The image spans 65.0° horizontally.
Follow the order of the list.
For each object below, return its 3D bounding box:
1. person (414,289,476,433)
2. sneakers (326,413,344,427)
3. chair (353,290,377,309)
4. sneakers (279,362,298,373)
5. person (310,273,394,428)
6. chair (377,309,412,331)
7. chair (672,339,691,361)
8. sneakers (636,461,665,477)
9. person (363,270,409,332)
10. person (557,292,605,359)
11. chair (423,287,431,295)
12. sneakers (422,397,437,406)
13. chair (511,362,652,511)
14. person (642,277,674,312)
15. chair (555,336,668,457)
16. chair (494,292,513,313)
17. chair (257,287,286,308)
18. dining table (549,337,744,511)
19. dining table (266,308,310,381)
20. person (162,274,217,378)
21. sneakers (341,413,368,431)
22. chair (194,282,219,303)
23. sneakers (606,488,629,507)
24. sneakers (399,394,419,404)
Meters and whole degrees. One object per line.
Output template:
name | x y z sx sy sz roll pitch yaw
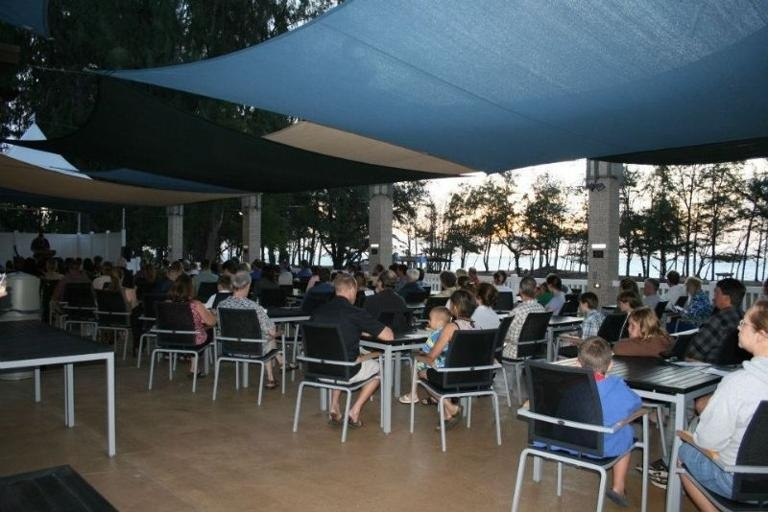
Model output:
person | 0.706 1.140 6.643 0.630 1.578 0.767 -2 6 -36
sneakers | -0.535 1.807 6.640 0.093 0.073 0.192 3 -7 -25
chair | -0.274 0.643 8.969 0.275 0.350 0.257 0 1 1
sneakers | -1.329 1.590 8.742 0.269 0.105 0.175 -7 -6 19
person | -0.362 1.052 6.631 0.933 1.684 0.814 0 3 -2
chair | 0.209 0.780 7.408 0.307 0.285 0.229 -1 2 -25
chair | 3.011 0.948 6.101 0.165 0.115 0.113 25 -10 -41
sneakers | 2.392 1.924 5.480 0.297 0.119 0.212 -3 -1 16
person | 0.040 0.736 7.973 0.535 1.094 0.709 5 12 6
person | 2.481 0.895 7.635 0.486 0.915 0.475 10 18 29
chair | 0.815 0.638 11.210 0.139 0.115 0.136 -1 -2 12
sneakers | 0.560 1.792 7.398 0.077 0.049 0.187 -4 -8 43
chair | 1.585 1.493 4.973 1.008 1.360 0.865 2 8 11
person | 4.544 0.632 9.962 0.359 0.854 0.285 -8 18 -21
chair | 1.879 1.064 5.009 0.717 1.494 0.803 -1 16 33
chair | 1.825 0.697 9.204 0.253 0.340 0.334 2 1 -24
chair | -1.812 0.661 9.809 0.306 0.486 0.327 2 7 -8
dining table | 2.063 1.293 5.311 1.150 1.689 1.180 -3 2 -27
dining table | -1.268 1.179 7.978 0.848 0.858 0.642 -2 6 -41
person | -2.592 0.973 8.253 0.665 1.595 0.779 -2 13 -5
sneakers | -0.309 1.786 6.445 0.328 0.138 0.108 3 0 -25
chair | -3.068 0.650 10.462 0.413 0.288 0.404 7 -12 -40
sneakers | 1.950 2.025 5.030 0.065 0.201 0.072 -42 -3 -38
sneakers | 0.350 1.695 7.248 0.293 0.113 0.168 3 -6 -15
